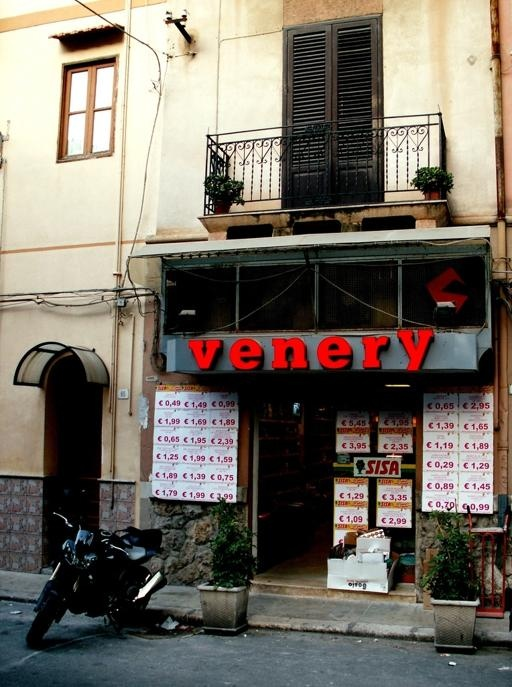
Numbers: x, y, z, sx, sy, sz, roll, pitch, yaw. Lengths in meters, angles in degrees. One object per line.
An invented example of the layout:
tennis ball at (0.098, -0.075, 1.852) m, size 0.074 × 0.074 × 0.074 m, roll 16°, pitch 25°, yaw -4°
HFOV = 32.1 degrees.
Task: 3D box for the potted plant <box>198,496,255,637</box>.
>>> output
potted plant at (-0.285, 2.463, 9.848) m, size 0.502 × 1.375 × 0.627 m, roll 0°, pitch 0°, yaw 15°

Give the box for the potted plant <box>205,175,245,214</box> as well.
potted plant at (-0.439, -2.048, 12.395) m, size 0.536 × 0.620 × 0.640 m, roll 0°, pitch 3°, yaw -7°

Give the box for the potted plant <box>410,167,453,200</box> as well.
potted plant at (2.230, -2.013, 11.204) m, size 0.493 × 0.409 × 0.280 m, roll 0°, pitch 0°, yaw -12°

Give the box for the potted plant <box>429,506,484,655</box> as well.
potted plant at (2.094, 2.441, 9.556) m, size 0.524 × 1.332 × 1.478 m, roll 0°, pitch 1°, yaw 13°

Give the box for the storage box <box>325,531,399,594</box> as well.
storage box at (1.341, 2.740, 11.327) m, size 0.816 × 0.734 × 0.605 m, roll 0°, pitch 1°, yaw 15°
